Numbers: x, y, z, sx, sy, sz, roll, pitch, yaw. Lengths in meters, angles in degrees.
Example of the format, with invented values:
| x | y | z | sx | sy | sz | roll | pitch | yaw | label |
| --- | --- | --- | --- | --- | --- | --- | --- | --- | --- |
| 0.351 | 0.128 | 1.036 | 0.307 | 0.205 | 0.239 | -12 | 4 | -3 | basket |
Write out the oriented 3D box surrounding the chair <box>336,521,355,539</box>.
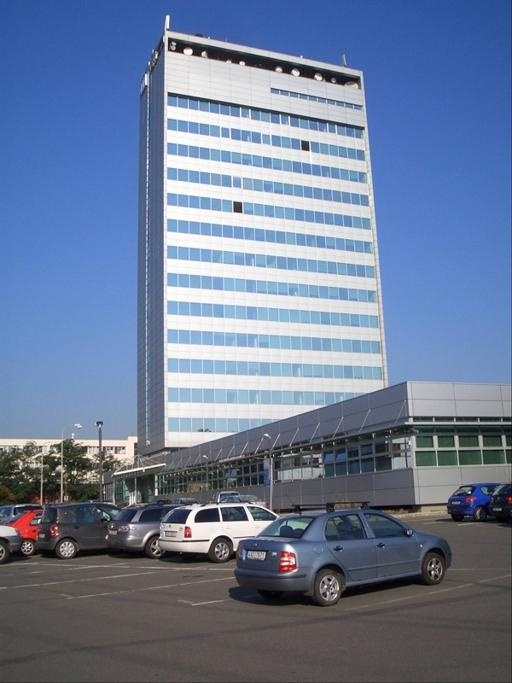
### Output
| x | y | z | sx | sy | sz | roll | pitch | yaw | label |
| --- | --- | --- | --- | --- | --- | --- | --- | --- | --- |
| 1.339 | 2.860 | 10.299 | 0.182 | 0.236 | 0.232 | 0 | 36 | 9 | chair |

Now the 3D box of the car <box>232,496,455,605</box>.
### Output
| x | y | z | sx | sy | sz | roll | pitch | yaw | label |
| --- | --- | --- | --- | --- | --- | --- | --- | --- | --- |
| 1.323 | 3.256 | 10.508 | 2.849 | 1.246 | 1.274 | 1 | -11 | -28 | car |

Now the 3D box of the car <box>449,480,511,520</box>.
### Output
| x | y | z | sx | sy | sz | roll | pitch | yaw | label |
| --- | --- | --- | --- | --- | --- | --- | --- | --- | --- |
| 7.891 | 5.500 | 23.623 | 2.144 | 1.016 | 1.239 | -3 | -8 | -21 | car |
